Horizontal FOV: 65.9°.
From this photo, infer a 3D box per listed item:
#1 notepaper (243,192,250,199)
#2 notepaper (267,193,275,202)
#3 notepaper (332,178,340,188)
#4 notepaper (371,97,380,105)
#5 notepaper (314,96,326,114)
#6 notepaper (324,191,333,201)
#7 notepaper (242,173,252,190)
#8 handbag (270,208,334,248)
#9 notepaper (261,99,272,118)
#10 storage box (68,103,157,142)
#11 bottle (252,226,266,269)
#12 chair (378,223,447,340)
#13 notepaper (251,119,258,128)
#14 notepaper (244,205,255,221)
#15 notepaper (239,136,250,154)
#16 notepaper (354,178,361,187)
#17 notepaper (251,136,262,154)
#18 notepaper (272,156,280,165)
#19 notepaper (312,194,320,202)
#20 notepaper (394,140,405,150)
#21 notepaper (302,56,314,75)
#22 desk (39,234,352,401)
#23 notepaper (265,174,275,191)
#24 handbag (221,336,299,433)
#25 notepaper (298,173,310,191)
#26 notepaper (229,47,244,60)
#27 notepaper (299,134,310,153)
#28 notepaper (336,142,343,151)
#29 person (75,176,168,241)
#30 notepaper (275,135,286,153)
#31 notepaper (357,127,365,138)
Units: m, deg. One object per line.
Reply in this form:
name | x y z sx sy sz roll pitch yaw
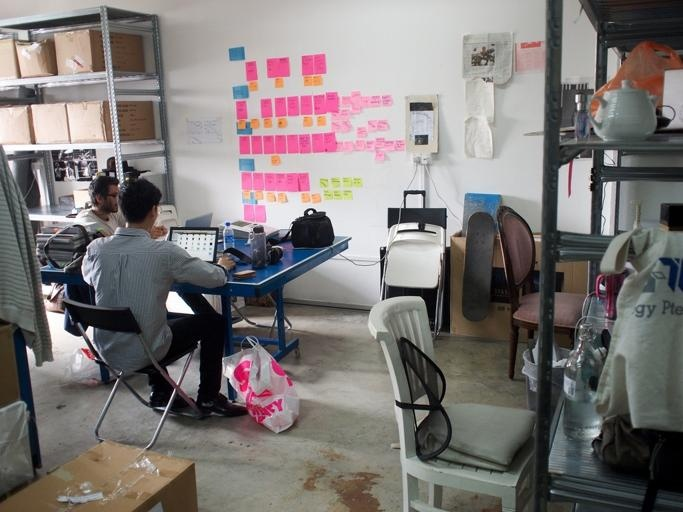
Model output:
notepaper | -0.970 -0.623 5.389 0.077 0.075 0.019 1 0 24
notepaper | -0.713 -0.595 5.292 0.082 0.087 0.029 3 7 16
notepaper | -0.059 -0.704 5.024 0.088 0.097 0.012 2 15 19
notepaper | 0.296 -1.400 4.762 0.075 0.095 0.004 1 11 17
notepaper | -0.208 -1.429 4.940 0.147 0.218 0.023 5 9 24
notepaper | -0.136 -0.586 5.083 0.090 0.088 0.022 2 6 17
notepaper | -0.965 -0.769 5.360 0.152 0.221 0.024 4 7 26
handbag | -0.306 -0.199 3.988 0.400 0.247 0.311 0 4 21
notepaper | -0.733 -1.454 5.142 0.160 0.228 0.024 3 7 22
storage box | -2.401 -1.360 5.375 0.664 0.329 0.528 5 14 25
bottle | -0.558 -0.063 3.553 0.092 0.256 0.188 -3 11 -3
chair | 0.603 0.115 4.496 0.478 0.912 0.501 5 22 9
notepaper | -0.861 -1.312 5.216 0.090 0.097 0.018 4 12 30
notepaper | -0.948 -0.453 5.413 0.118 0.162 0.085 6 14 24
notepaper | -0.976 -1.128 5.299 0.156 0.225 0.024 3 7 24
notepaper | 0.139 -0.696 4.943 0.077 0.075 0.019 3 7 26
notepaper | -0.847 -1.116 5.246 0.153 0.222 0.022 4 6 26
notepaper | -0.648 -0.943 5.202 0.091 0.092 0.015 2 12 21
notepaper | -0.255 -0.566 5.123 0.080 0.078 0.019 5 2 20
notepaper | 0.503 -1.000 4.754 0.089 0.087 0.023 2 6 11
notepaper | -0.319 -1.792 4.919 0.154 0.216 0.024 4 7 28
desk | -0.573 0.192 3.850 1.443 0.772 1.472 1 9 20
notepaper | -0.716 -0.741 5.265 0.113 0.173 0.017 3 12 27
handbag | -0.498 0.814 3.368 0.353 0.576 0.231 -43 -10 3
notepaper | -0.374 -0.732 5.141 0.149 0.214 0.021 3 8 23
notepaper | -1.015 -2.002 5.185 0.195 0.137 0.108 8 21 24
notepaper | -0.359 -1.091 5.065 0.151 0.218 0.023 5 9 25
notepaper | -0.033 -1.030 4.935 0.065 0.069 0.016 3 5 23
person | -1.842 -0.306 4.264 0.517 0.654 0.919 -12 4 -31
notepaper | -0.596 -1.095 5.157 0.112 0.174 0.020 3 12 27
notepaper | 0.171 -1.141 4.846 0.075 0.079 0.026 3 -1 15
